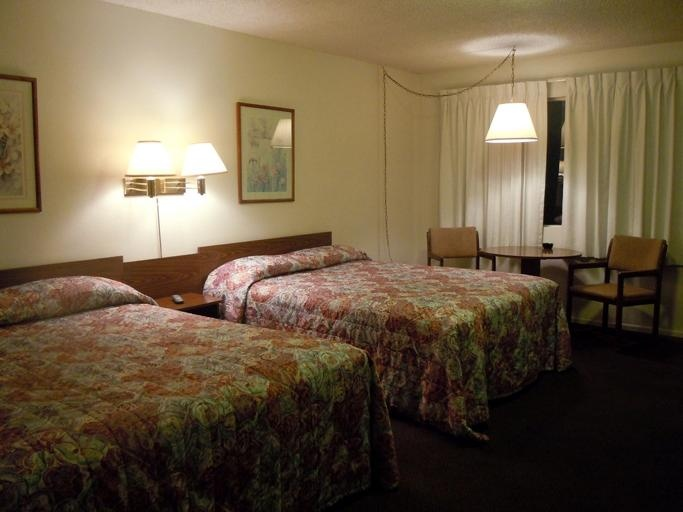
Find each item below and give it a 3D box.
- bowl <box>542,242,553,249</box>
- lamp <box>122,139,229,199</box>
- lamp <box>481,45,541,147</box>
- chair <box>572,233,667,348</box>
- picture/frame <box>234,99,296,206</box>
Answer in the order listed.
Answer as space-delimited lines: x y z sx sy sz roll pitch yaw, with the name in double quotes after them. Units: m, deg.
2.461 -0.123 5.784 0.088 0.041 0.089 0 8 0 "bowl"
-1.457 -0.822 4.767 0.645 0.570 1.087 -1 9 -24 "lamp"
1.795 -1.752 5.137 0.581 1.048 0.564 -7 11 -29 "lamp"
3.012 0.363 5.334 0.765 1.122 0.858 -2 7 -1 "chair"
-0.795 -1.078 5.165 0.750 1.024 0.084 -11 15 -42 "picture/frame"
